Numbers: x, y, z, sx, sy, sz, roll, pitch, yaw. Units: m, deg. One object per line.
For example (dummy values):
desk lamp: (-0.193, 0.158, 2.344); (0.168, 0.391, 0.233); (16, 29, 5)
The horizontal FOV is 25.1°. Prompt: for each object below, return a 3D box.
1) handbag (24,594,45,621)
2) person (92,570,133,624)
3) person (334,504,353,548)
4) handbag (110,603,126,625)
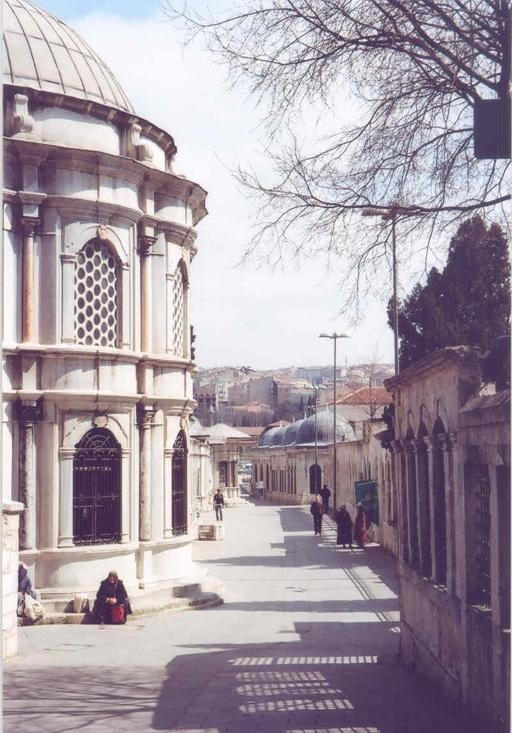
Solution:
handbag: (-3.122, 3.426, 16.152); (0.113, 0.391, 0.235); (-20, -15, 20)
person: (-2.093, 3.338, 16.659); (0.570, 1.020, 0.574); (3, -11, -20)
person: (2.371, 4.245, 30.454); (0.405, 1.198, 1.344); (0, -1, 4)
handbag: (-1.958, 3.585, 16.555); (0.107, 0.298, 0.314); (-1, -1, 37)
